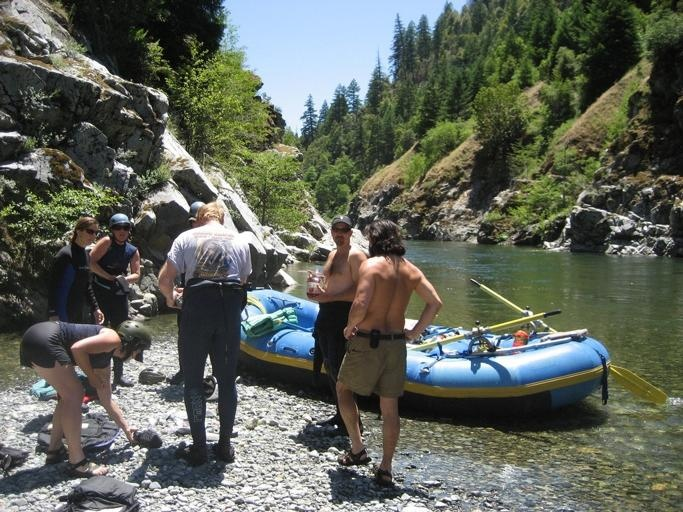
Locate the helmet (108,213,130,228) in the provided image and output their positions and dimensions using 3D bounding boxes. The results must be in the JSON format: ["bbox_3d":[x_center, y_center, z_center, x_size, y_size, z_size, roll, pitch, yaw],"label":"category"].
[{"bbox_3d":[-3.322,-0.541,8.405,0.298,0.142,0.224,-5,-6,20],"label":"helmet"}]

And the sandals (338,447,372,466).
[{"bbox_3d":[0.166,2.487,6.991,0.414,0.185,0.191,-1,2,14],"label":"sandals"}]

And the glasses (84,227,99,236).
[{"bbox_3d":[-3.373,-0.335,7.744,0.088,0.114,0.214,6,8,12],"label":"glasses"}]

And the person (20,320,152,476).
[{"bbox_3d":[-2.998,1.600,6.386,1.035,1.703,0.699,-1,10,-29],"label":"person"}]

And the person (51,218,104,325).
[{"bbox_3d":[-3.633,0.206,7.772,0.768,1.509,0.621,-3,12,-40],"label":"person"}]

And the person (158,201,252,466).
[{"bbox_3d":[-1.591,1.080,6.654,0.923,2.784,0.530,3,9,-9],"label":"person"}]

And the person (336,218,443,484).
[{"bbox_3d":[0.478,1.152,6.746,0.895,3.053,0.813,13,12,43],"label":"person"}]

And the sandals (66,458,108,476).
[{"bbox_3d":[-2.833,2.402,6.331,0.378,0.154,0.200,1,0,-15],"label":"sandals"}]

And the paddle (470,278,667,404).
[{"bbox_3d":[4.714,1.693,11.592,3.462,0.402,0.355,29,52,27],"label":"paddle"}]

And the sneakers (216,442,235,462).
[{"bbox_3d":[-1.375,2.374,6.774,0.142,0.123,0.300,8,6,-15],"label":"sneakers"}]
